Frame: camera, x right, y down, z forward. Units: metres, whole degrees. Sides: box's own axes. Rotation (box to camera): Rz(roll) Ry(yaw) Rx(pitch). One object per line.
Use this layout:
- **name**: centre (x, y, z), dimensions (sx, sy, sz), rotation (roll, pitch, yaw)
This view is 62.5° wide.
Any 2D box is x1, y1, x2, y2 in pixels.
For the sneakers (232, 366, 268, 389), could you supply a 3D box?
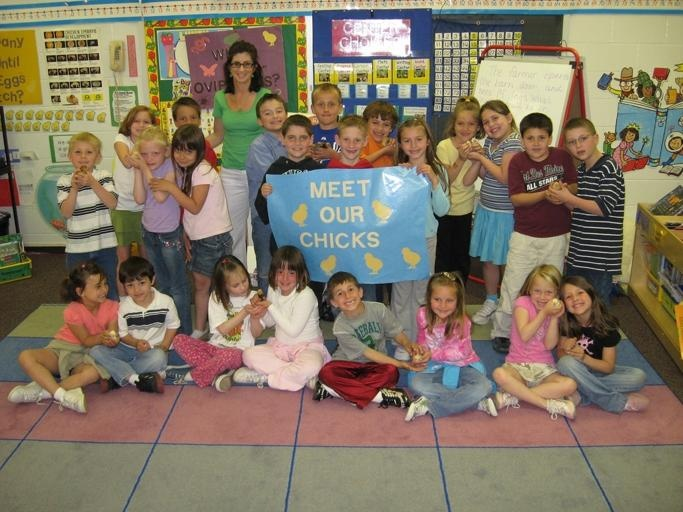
- **sneakers**: centre (-0.672, 0.903, 4.133), dimensions (0.232, 0.088, 0.118), rotation (15, 21, -17)

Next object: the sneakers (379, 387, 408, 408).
- **sneakers**: centre (0.364, 0.979, 3.867), dimensions (0.243, 0.086, 0.112), rotation (0, 12, 23)

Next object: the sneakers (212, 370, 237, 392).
- **sneakers**: centre (-0.853, 0.910, 4.102), dimensions (0.070, 0.075, 0.181), rotation (-12, 15, 29)

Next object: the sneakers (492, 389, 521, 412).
- **sneakers**: centre (1.122, 1.000, 3.852), dimensions (0.241, 0.100, 0.079), rotation (-3, 9, -12)

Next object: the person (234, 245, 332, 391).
- **person**: centre (-0.426, 0.434, 4.145), dimensions (0.745, 0.962, 0.707), rotation (-9, 13, -40)

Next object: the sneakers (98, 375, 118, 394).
- **sneakers**: centre (-1.680, 0.930, 4.061), dimensions (0.063, 0.127, 0.187), rotation (2, 7, -4)

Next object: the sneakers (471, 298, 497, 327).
- **sneakers**: centre (1.273, 0.488, 5.013), dimensions (0.129, 0.147, 0.332), rotation (17, 28, 39)

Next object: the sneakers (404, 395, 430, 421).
- **sneakers**: centre (0.513, 1.022, 3.823), dimensions (0.080, 0.096, 0.228), rotation (2, 25, 39)

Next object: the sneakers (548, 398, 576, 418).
- **sneakers**: centre (1.468, 1.006, 3.769), dimensions (0.095, 0.086, 0.215), rotation (-12, 9, -43)

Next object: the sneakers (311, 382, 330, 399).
- **sneakers**: centre (-0.146, 0.947, 3.932), dimensions (0.072, 0.104, 0.153), rotation (2, -9, -11)

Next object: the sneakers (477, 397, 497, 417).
- **sneakers**: centre (0.993, 1.022, 3.806), dimensions (0.077, 0.066, 0.193), rotation (3, -1, -24)

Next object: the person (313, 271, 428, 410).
- **person**: centre (0.157, 0.603, 3.967), dimensions (0.673, 0.892, 0.788), rotation (-12, 9, -37)

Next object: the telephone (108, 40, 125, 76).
- **telephone**: centre (-2.552, -2.278, 6.415), dimensions (0.196, 0.353, 0.121), rotation (-10, 25, -19)

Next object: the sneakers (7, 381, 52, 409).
- **sneakers**: centre (-2.191, 0.969, 3.956), dimensions (0.145, 0.125, 0.348), rotation (5, 6, 33)

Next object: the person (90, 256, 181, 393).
- **person**: centre (-1.522, 0.484, 4.136), dimensions (0.622, 0.850, 0.754), rotation (0, 13, -7)

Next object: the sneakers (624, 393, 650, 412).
- **sneakers**: centre (1.997, 1.000, 3.837), dimensions (0.202, 0.086, 0.086), rotation (-6, 12, 11)

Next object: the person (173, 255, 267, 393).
- **person**: centre (-0.858, 0.479, 4.149), dimensions (0.613, 0.824, 0.775), rotation (3, 8, 13)

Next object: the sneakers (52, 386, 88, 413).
- **sneakers**: centre (-1.859, 0.975, 3.887), dimensions (0.308, 0.113, 0.141), rotation (9, 12, 35)
